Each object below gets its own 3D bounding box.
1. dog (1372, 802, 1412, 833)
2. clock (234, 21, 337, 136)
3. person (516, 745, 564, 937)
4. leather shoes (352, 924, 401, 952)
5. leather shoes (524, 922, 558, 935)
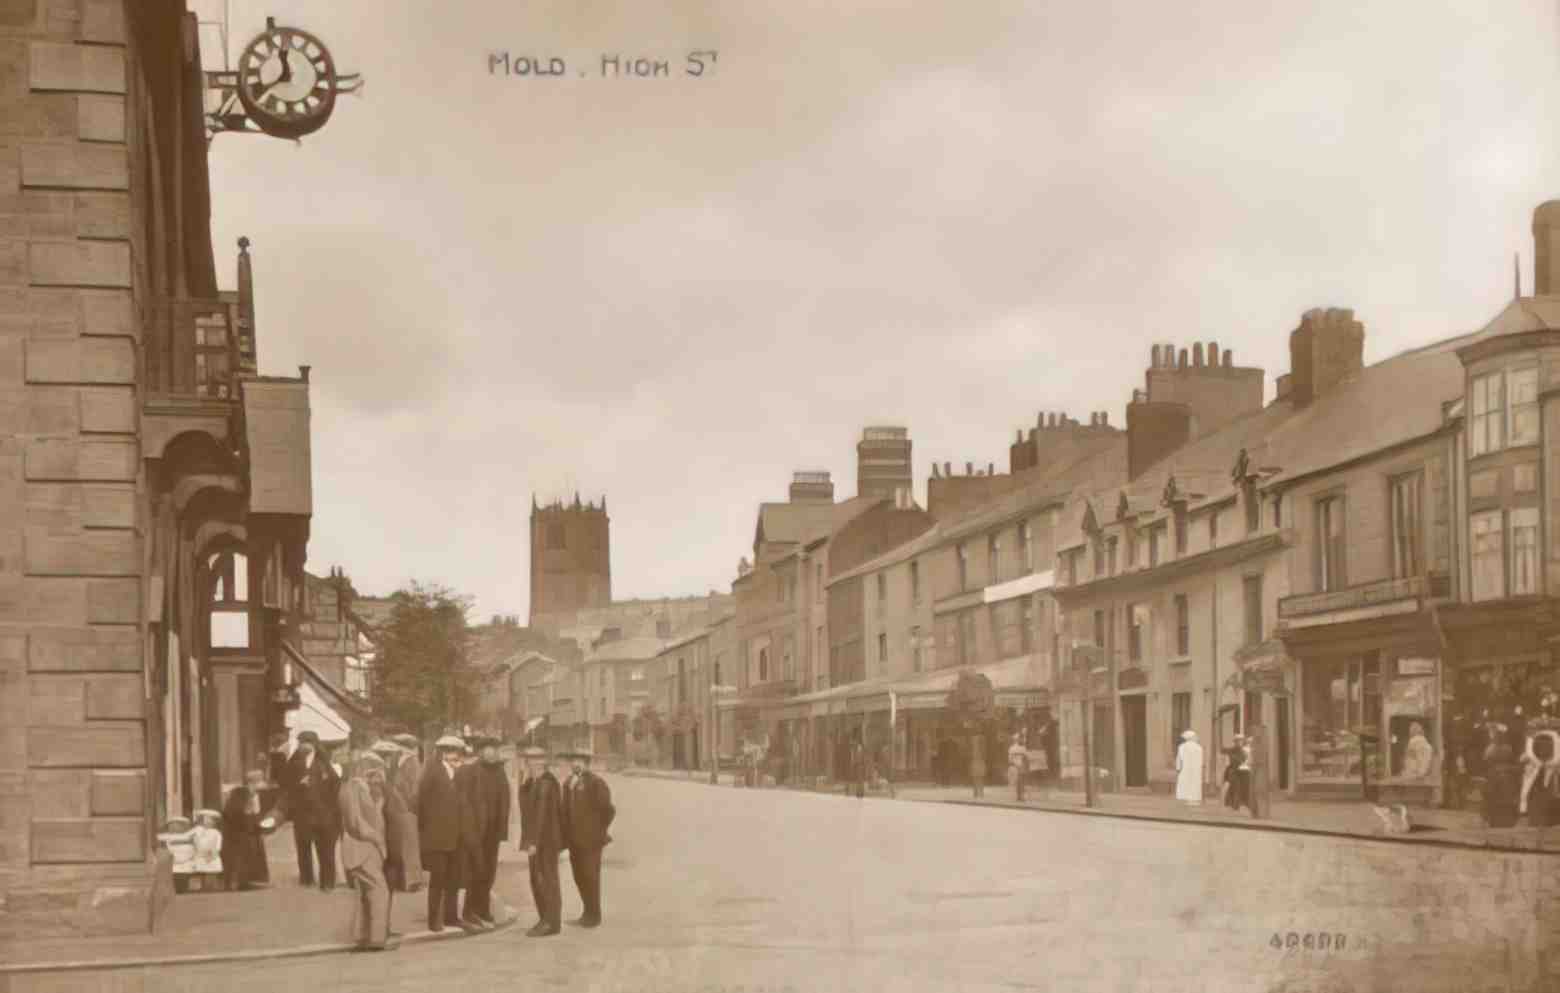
[{"bbox_3d":[10.077,5.240,42.212,0.549,0.537,1.016,-4,-14,12],"label":"dog"},{"bbox_3d":[-7.718,-6.507,40.535,1.154,1.760,1.484,12,-19,-42],"label":"clock"},{"bbox_3d":[-3.313,4.718,35.349,0.579,2.349,0.650,2,0,8],"label":"person"},{"bbox_3d":[-5.345,5.906,34.378,0.656,0.236,0.225,-1,-3,-2],"label":"leather shoes"},{"bbox_3d":[-3.214,5.861,35.062,0.439,0.179,0.235,-2,-14,6],"label":"leather shoes"}]
